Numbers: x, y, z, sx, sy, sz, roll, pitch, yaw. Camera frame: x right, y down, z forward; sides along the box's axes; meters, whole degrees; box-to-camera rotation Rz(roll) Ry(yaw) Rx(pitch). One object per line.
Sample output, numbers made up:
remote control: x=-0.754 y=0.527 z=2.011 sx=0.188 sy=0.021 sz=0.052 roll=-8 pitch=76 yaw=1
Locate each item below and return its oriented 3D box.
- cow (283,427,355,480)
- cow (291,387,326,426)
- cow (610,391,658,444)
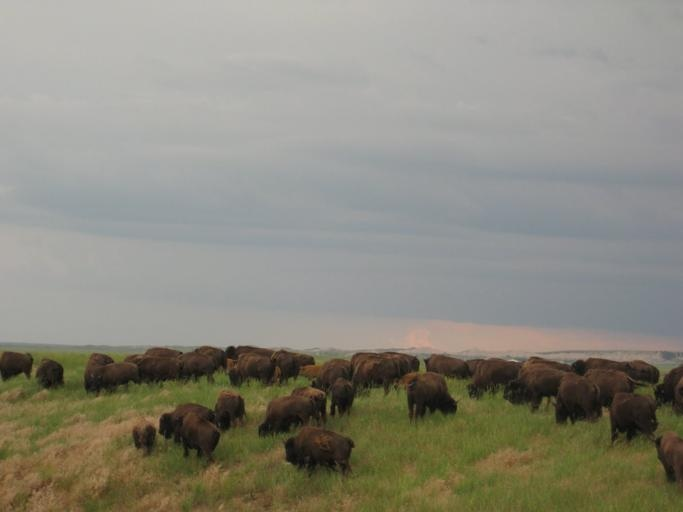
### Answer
cow: x=-1.054 y=8.054 z=39.491 sx=3.739 sy=2.187 sz=1.308 roll=2 pitch=-8 yaw=21
cow: x=-1.592 y=6.534 z=43.880 sx=0.751 sy=1.468 sz=2.853 roll=0 pitch=5 yaw=-32
cow: x=12.401 y=6.793 z=41.090 sx=1.673 sy=2.322 sz=1.637 roll=-2 pitch=0 yaw=-2
